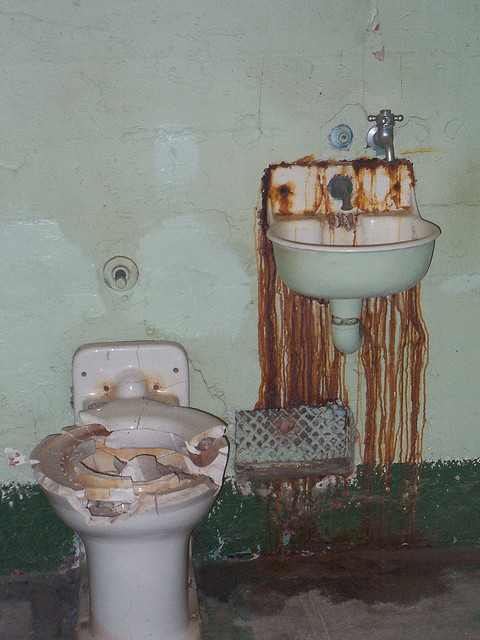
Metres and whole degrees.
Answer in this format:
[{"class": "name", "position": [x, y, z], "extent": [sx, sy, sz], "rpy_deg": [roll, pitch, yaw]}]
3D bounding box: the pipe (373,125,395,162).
[{"class": "pipe", "position": [0.343, -0.422, 2.078], "extent": [0.043, 0.082, 0.091], "rpy_deg": [-4, 23, -2]}]

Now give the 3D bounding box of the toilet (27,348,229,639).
[{"class": "toilet", "position": [-0.227, 0.397, 1.979], "extent": [0.408, 0.569, 0.502], "rpy_deg": [-3, 23, -2]}]

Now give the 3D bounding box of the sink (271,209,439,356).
[{"class": "sink", "position": [0.254, -0.068, 2.059], "extent": [0.417, 0.316, 0.253], "rpy_deg": [-2, 29, 1]}]

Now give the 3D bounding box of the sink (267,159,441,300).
[{"class": "sink", "position": [0.243, -0.202, 2.057], "extent": [0.492, 0.339, 0.355], "rpy_deg": [-2, 40, 0]}]

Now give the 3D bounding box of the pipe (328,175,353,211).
[{"class": "pipe", "position": [0.244, -0.310, 2.139], "extent": [0.072, 0.078, 0.041], "rpy_deg": [-13, 8, 3]}]

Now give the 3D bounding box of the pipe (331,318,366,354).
[{"class": "pipe", "position": [0.262, 0.045, 2.120], "extent": [0.077, 0.083, 0.076], "rpy_deg": [-1, -18, 17]}]

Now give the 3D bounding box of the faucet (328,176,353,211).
[{"class": "faucet", "position": [0.244, -0.309, 2.139], "extent": [0.072, 0.079, 0.041], "rpy_deg": [-15, 9, 1]}]
